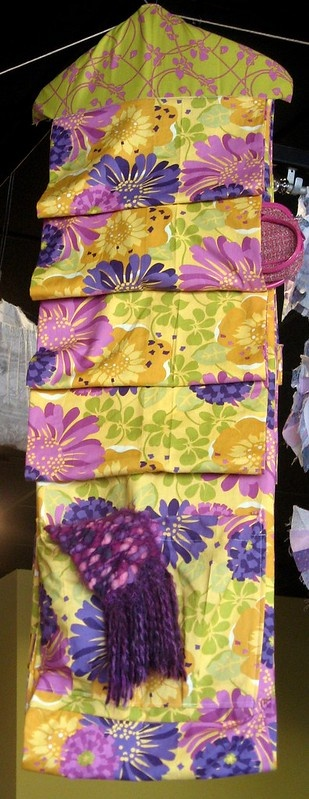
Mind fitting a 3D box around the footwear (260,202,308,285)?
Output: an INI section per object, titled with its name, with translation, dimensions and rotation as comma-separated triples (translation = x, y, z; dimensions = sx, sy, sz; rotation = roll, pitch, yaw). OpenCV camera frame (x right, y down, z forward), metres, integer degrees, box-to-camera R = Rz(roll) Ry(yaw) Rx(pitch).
[footwear]
translation = 0.196, -0.246, 0.907
dimensions = 0.081, 0.138, 0.043
rotation = -1, 9, 5
